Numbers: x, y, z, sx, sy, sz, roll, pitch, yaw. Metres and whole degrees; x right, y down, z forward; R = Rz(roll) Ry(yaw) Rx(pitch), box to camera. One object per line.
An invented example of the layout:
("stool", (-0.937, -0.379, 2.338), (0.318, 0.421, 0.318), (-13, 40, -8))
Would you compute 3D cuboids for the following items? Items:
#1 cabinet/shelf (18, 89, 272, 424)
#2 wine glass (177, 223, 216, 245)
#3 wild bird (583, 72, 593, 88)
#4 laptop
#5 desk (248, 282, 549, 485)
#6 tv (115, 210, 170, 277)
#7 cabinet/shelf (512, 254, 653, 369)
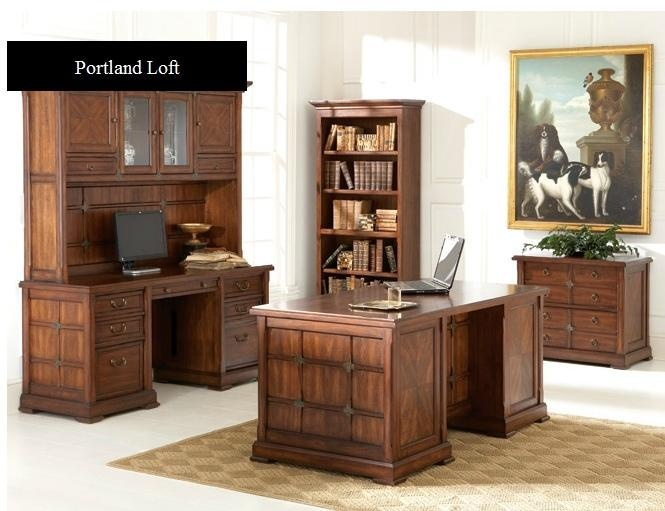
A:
("cabinet/shelf", (-1.669, -0.148, 5.599), (0.906, 2.853, 1.877), (2, 4, 36))
("wine glass", (-1.396, -0.236, 6.325), (0.324, 0.147, 0.254), (0, 0, -5))
("wild bird", (2.936, -2.007, 7.074), (0.056, 0.142, 0.097), (6, 9, -44))
("laptop", (0.678, 0.067, 4.756), (0.655, 0.366, 0.647), (-6, 4, -13))
("desk", (0.607, 0.886, 4.690), (1.233, 0.876, 2.247), (-3, -4, 41))
("tv", (-1.767, -0.117, 5.697), (0.338, 0.605, 0.706), (1, 4, 37))
("cabinet/shelf", (2.583, 0.585, 6.282), (1.452, 1.125, 0.813), (1, 2, 32))
